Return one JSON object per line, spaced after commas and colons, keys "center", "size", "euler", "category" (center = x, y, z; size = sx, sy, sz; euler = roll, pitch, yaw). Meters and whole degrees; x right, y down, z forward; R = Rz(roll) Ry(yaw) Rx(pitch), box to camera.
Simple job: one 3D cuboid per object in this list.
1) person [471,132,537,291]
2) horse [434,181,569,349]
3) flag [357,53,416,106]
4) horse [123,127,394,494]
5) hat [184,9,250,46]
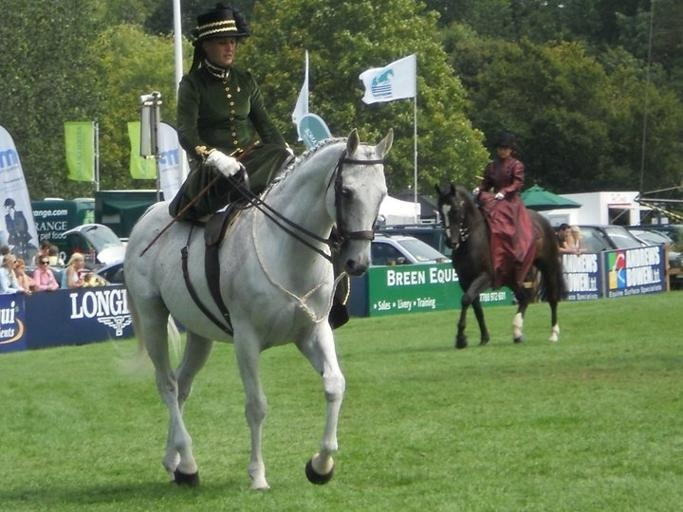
{"center": [4.253, -1.071, 35.638], "size": [1.301, 4.135, 1.183], "euler": [8, 17, 40], "category": "person"}
{"center": [4.361, 0.300, 36.500], "size": [1.450, 4.361, 6.013], "euler": [0, 1, 41], "category": "horse"}
{"center": [1.778, -7.260, 55.329], "size": [3.200, 2.374, 0.337], "euler": [-4, 4, 3], "category": "flag"}
{"center": [-1.771, 0.956, 28.013], "size": [5.394, 7.042, 2.047], "euler": [2, 15, 14], "category": "horse"}
{"center": [-2.564, -4.828, 28.310], "size": [1.171, 0.783, 0.386], "euler": [-3, 15, -5], "category": "hat"}
